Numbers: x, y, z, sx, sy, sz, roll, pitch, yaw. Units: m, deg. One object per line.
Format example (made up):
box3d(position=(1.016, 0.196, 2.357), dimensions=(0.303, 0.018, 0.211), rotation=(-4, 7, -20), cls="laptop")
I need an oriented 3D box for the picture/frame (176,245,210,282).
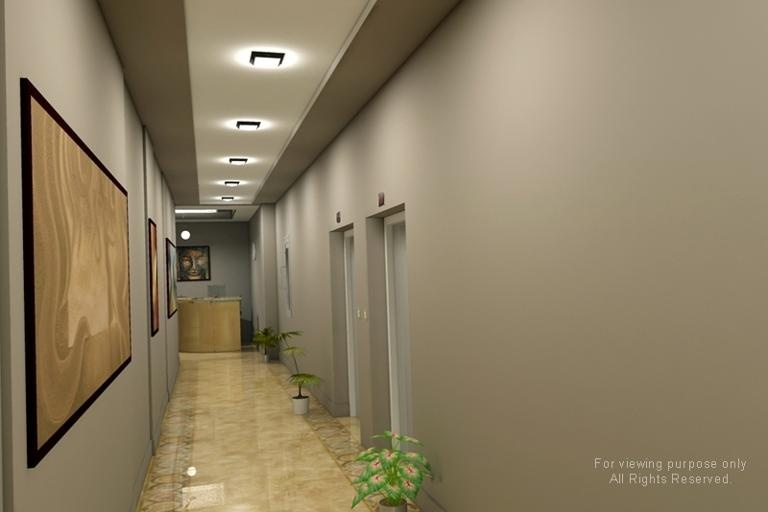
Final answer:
box3d(position=(-5.937, 0.251, 15.700), dimensions=(1.101, 1.201, 0.087), rotation=(0, -5, -18), cls="picture/frame")
